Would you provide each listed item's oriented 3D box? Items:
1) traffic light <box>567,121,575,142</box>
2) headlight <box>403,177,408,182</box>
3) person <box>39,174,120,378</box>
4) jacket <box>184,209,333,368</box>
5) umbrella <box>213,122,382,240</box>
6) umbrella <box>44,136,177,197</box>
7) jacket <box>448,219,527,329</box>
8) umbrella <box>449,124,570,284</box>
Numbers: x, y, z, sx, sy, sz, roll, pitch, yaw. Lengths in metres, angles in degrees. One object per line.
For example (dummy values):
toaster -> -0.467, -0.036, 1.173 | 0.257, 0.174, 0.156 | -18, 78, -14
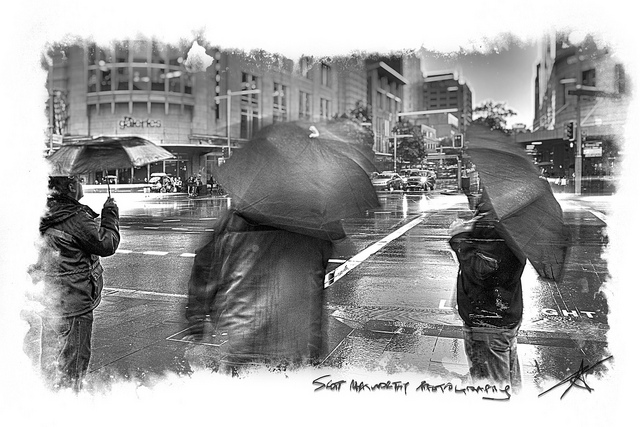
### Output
traffic light -> 18.144, -5.983, 40.296 | 0.339, 1.368, 1.421 | 5, 2, 38
headlight -> 7.150, -2.857, 46.765 | 0.363, 0.356, 0.626 | 1, 7, 8
person -> -2.720, 0.743, 6.295 | 0.785, 2.373, 0.376 | -3, 6, -22
jacket -> -0.647, 0.853, 5.987 | 1.813, 2.346, 1.182 | 0, 7, -1
umbrella -> -0.093, -0.434, 5.859 | 1.498, 0.624, 1.568 | 23, 29, 7
umbrella -> -2.484, -0.658, 6.237 | 0.801, 0.512, 0.789 | -7, -1, -41
jacket -> 1.898, 0.432, 6.526 | 0.939, 1.519, 1.488 | 1, 1, 22
umbrella -> 2.069, -0.075, 5.848 | 1.143, 1.620, 0.507 | -1, 6, -12
